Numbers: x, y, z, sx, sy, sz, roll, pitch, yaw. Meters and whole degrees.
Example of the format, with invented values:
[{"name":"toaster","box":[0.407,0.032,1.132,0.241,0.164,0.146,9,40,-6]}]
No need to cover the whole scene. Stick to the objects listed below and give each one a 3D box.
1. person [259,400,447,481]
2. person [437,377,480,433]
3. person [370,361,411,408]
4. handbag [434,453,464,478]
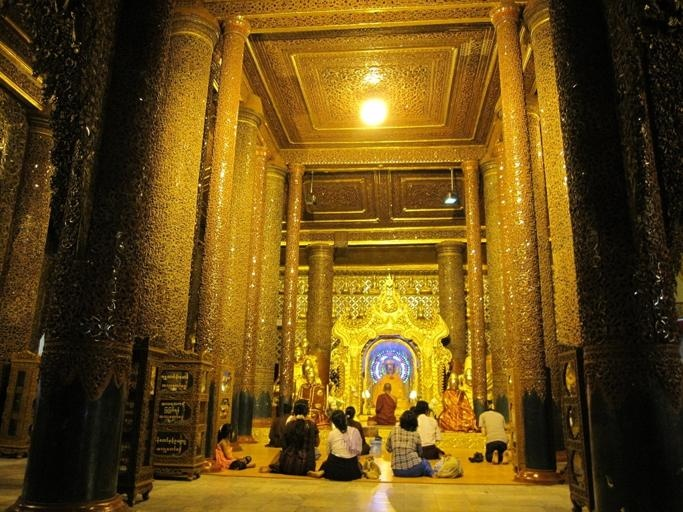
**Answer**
[{"name":"person","box":[0.081,1.901,5.491,1.660,0.742,0.594,4,-20,-9]},{"name":"person","box":[2.042,2.693,9.447,0.711,1.008,0.633,-1,-22,8]},{"name":"person","box":[1.225,2.866,12.513,1.241,1.348,0.812,-1,-26,6]},{"name":"handbag","box":[1.075,2.107,5.374,0.195,0.169,0.242,-4,-10,6]}]
